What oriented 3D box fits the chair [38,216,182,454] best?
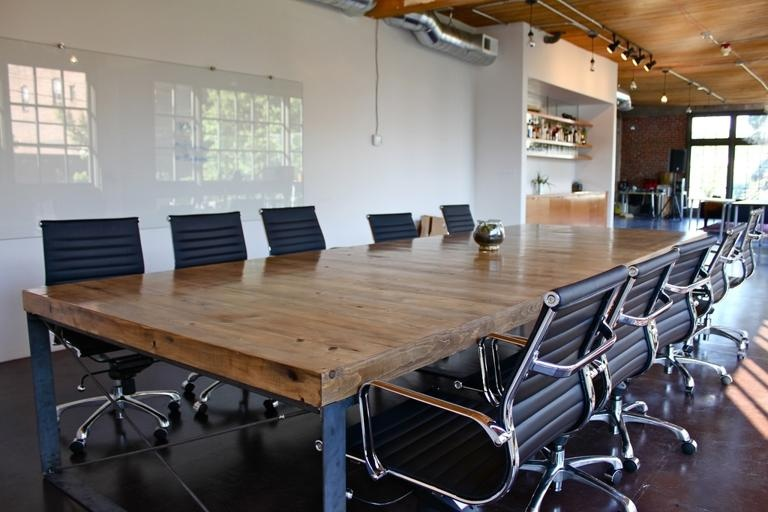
[{"bbox_3d":[-1.777,0.472,3.405,0.984,1.357,0.934,9,8,41],"label":"chair"}]

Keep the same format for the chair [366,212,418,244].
[{"bbox_3d":[0.094,-0.285,4.989,0.361,0.519,0.385,-11,15,-42],"label":"chair"}]

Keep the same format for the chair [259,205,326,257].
[{"bbox_3d":[-0.805,-0.285,4.482,0.478,0.656,0.492,-10,15,-38],"label":"chair"}]

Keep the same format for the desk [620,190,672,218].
[{"bbox_3d":[8.867,-1.811,17.040,1.070,1.002,1.653,-6,8,-43],"label":"desk"}]

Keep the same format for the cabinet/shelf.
[{"bbox_3d":[3.807,-1.774,10.811,2.443,2.237,0.890,-5,18,-19],"label":"cabinet/shelf"}]

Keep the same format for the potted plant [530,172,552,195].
[{"bbox_3d":[3.166,-1.434,10.228,0.484,0.479,0.495,5,9,42],"label":"potted plant"}]

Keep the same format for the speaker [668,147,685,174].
[{"bbox_3d":[10.153,-3.243,17.245,0.558,0.796,0.544,4,14,19],"label":"speaker"}]
